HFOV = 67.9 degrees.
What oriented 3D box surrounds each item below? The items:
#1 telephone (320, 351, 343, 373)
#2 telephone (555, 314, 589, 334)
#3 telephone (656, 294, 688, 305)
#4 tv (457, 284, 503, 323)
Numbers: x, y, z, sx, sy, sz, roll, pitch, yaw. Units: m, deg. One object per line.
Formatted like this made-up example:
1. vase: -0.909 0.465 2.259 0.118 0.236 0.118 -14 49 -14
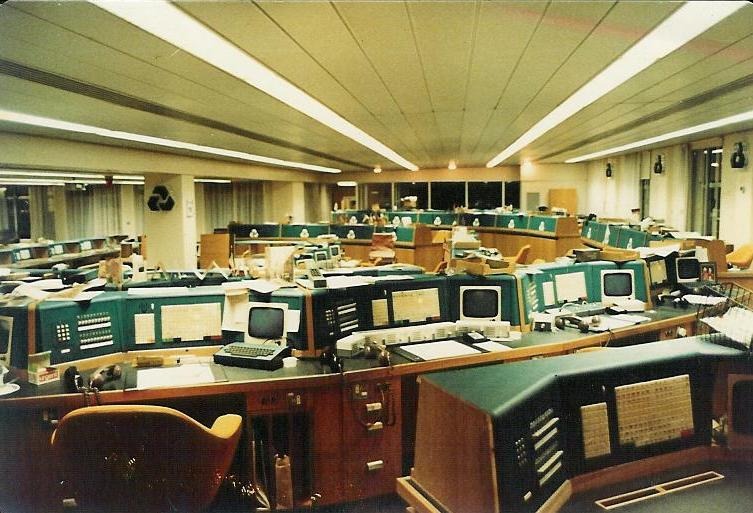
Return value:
1. telephone: -0.375 0.876 4.698 0.131 0.072 0.197 -23 25 -18
2. telephone: 1.954 0.663 5.543 0.232 0.078 0.179 8 2 38
3. telephone: 3.442 0.498 6.463 0.259 0.068 0.165 -6 9 -19
4. tv: 0.983 0.448 5.642 0.644 0.449 0.316 0 -3 4
